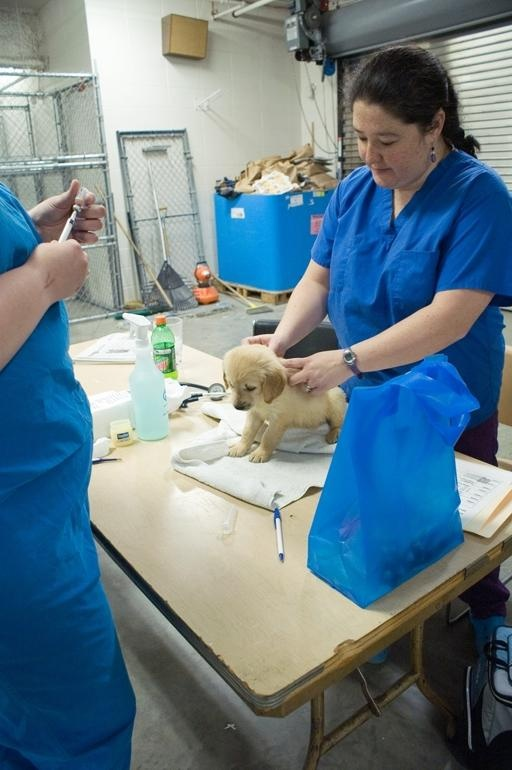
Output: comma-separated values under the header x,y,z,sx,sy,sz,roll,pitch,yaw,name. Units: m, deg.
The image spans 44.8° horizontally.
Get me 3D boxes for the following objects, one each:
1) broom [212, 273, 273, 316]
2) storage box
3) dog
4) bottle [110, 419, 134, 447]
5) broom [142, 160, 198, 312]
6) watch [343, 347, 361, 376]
x,y,z,sx,sy,sz,roll,pitch,yaw,name
-0.132,-0.847,5.957,0.308,0.095,0.896,1,19,-37,broom
0.220,-1.408,6.051,1.196,0.874,1.122,-9,19,-18,storage box
0.065,0.025,1.492,0.165,0.245,0.343,13,19,42,dog
-0.333,0.119,1.525,0.064,0.060,0.058,-4,15,-12,bottle
-0.843,-1.397,5.796,0.338,1.330,0.654,-8,17,-1,broom
0.203,-0.053,1.325,0.030,0.042,0.044,-32,41,6,watch
